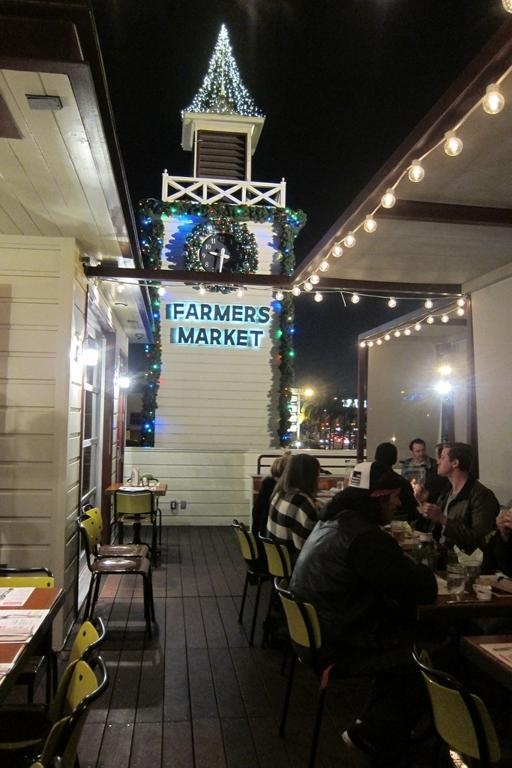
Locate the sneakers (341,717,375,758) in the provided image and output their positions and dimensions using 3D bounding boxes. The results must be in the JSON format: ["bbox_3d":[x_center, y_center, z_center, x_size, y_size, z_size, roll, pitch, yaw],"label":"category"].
[{"bbox_3d":[0.482,1.596,2.560,0.136,0.107,0.319,-3,-36,21],"label":"sneakers"}]

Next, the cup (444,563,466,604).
[{"bbox_3d":[0.935,0.914,2.631,0.131,0.199,0.125,-1,0,0],"label":"cup"}]

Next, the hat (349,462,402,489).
[{"bbox_3d":[0.589,0.433,2.768,0.186,0.082,0.143,6,-2,-39],"label":"hat"}]

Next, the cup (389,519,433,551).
[{"bbox_3d":[1.072,0.999,3.966,0.262,0.108,0.368,0,-4,0],"label":"cup"}]

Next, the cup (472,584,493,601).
[{"bbox_3d":[1.064,0.965,2.634,0.081,0.066,0.060,-1,1,0],"label":"cup"}]

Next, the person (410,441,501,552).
[{"bbox_3d":[1.613,0.887,4.474,0.508,1.075,0.599,8,-13,4],"label":"person"}]
